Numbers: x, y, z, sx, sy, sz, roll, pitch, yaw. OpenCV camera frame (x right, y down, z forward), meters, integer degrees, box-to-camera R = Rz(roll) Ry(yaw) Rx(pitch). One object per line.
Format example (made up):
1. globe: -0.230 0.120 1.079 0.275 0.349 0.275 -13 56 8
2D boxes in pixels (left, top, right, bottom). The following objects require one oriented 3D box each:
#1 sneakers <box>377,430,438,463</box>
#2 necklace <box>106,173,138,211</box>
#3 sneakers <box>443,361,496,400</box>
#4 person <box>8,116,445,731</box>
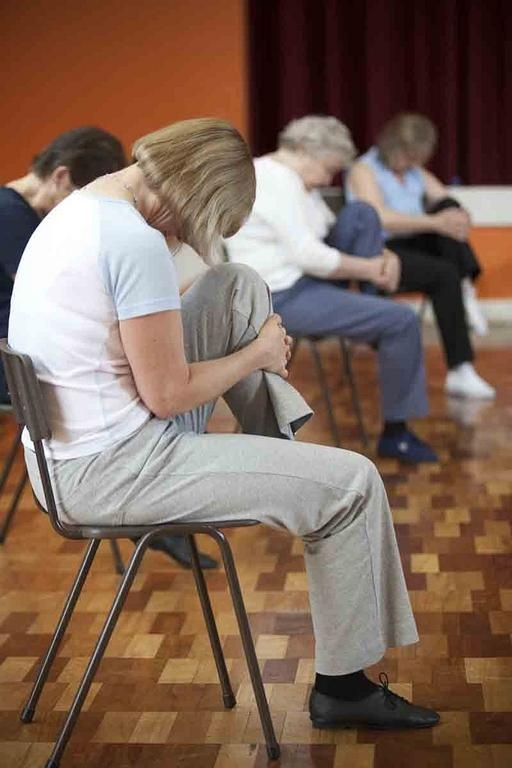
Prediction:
1. sneakers: 0.540 0.214 2.633 0.188 0.073 0.099 6 16 41
2. necklace: -0.184 -0.272 1.048 0.041 0.051 0.022 15 54 28
3. sneakers: 0.985 -0.014 3.392 0.264 0.232 0.123 0 16 18
4. person: -0.047 0.093 1.133 0.605 0.976 0.301 -5 12 -13
